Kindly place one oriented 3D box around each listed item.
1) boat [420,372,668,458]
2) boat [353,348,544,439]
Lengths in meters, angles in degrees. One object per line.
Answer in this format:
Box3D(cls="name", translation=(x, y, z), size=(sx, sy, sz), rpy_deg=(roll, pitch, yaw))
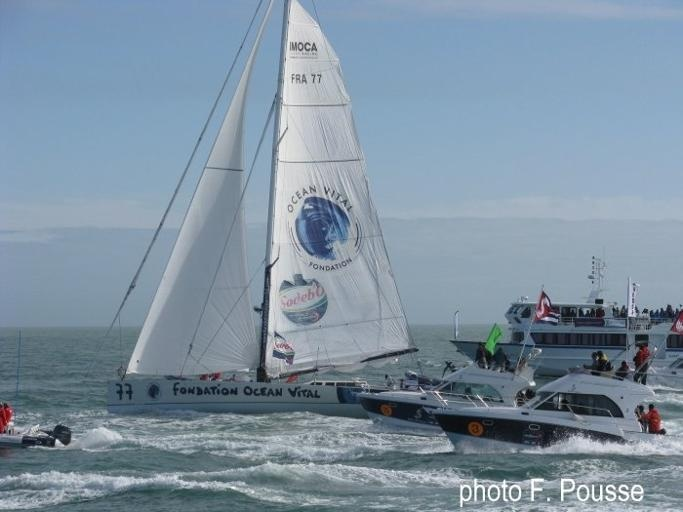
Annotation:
Box3D(cls="boat", translation=(8.603, 6.642, 46.889), size=(11.272, 3.688, 3.103), rpy_deg=(-2, -3, 3))
Box3D(cls="boat", translation=(5.039, 6.495, 48.855), size=(9.655, 4.198, 3.195), rpy_deg=(-4, -4, 23))
